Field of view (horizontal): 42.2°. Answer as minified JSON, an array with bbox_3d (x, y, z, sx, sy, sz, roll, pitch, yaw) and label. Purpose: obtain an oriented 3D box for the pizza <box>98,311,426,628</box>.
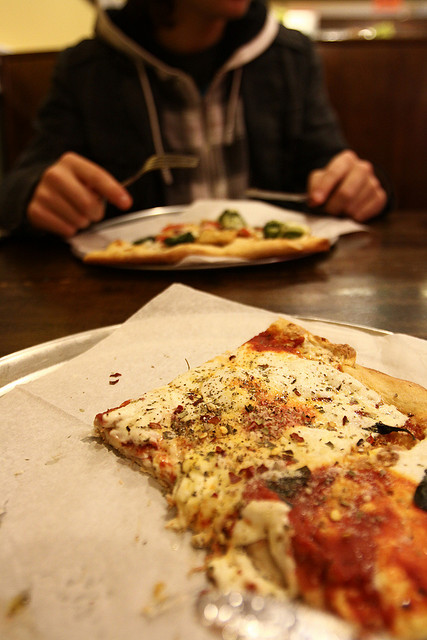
[{"bbox_3d":[0.145,0.168,0.846,0.536,0.063,0.459,20,40,40],"label":"pizza"}]
